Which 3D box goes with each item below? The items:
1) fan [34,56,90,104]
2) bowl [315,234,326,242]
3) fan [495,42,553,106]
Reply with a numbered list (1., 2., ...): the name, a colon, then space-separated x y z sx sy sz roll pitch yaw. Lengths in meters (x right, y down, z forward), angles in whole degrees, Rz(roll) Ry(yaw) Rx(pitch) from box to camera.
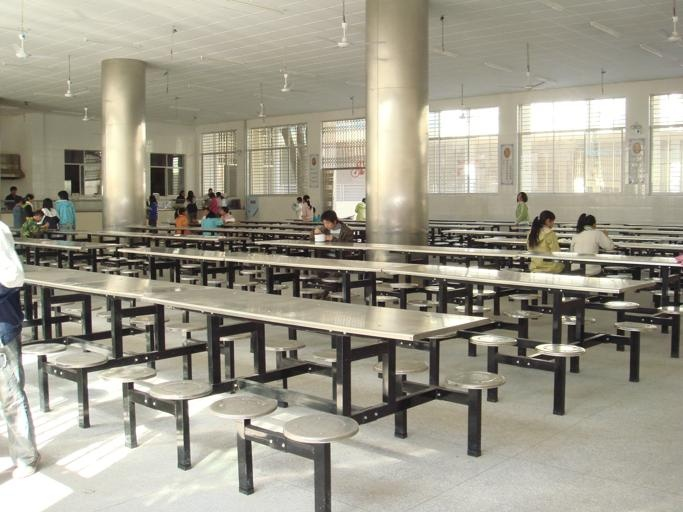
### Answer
1. fan: -7.321 -4.525 15.199 1.384 0.251 4.523 -4 8 -27
2. bowl: -0.290 -0.246 7.636 0.118 0.061 0.112 0 1 0
3. fan: 4.436 -4.524 13.772 1.185 0.991 1.075 8 31 28
